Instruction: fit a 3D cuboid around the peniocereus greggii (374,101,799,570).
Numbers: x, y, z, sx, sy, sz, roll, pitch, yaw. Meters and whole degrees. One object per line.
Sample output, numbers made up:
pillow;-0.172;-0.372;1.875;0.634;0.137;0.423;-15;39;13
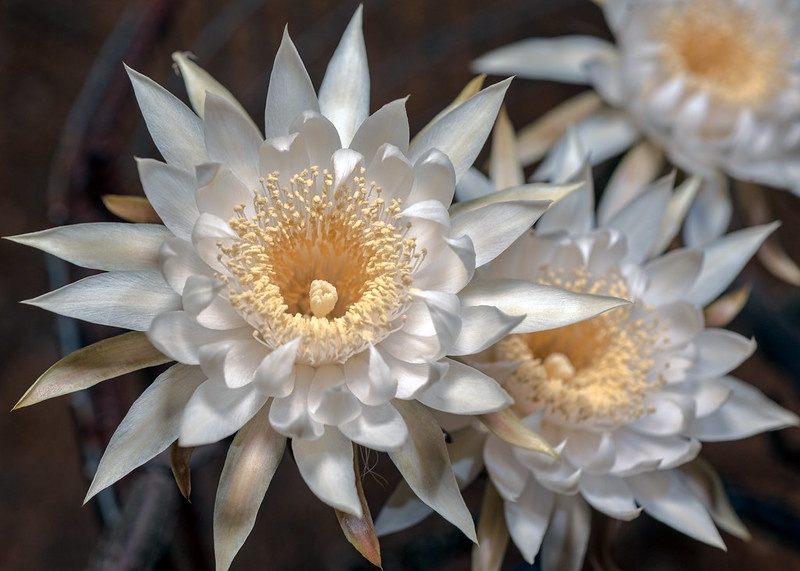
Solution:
peniocereus greggii;0.248;0.135;1.221;0.553;0.250;0.566;5;71;-17

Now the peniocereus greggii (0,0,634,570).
peniocereus greggii;-0.100;0.014;1.007;0.667;0.352;0.619;30;53;15
